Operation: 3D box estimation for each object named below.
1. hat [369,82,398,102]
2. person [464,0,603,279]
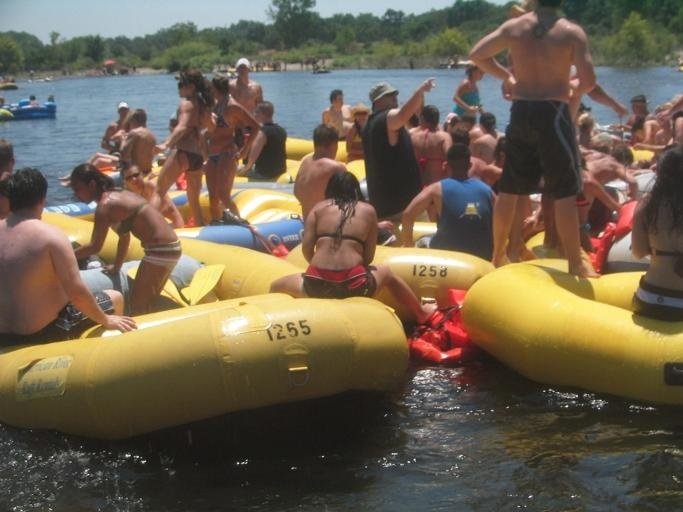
[{"bbox_3d":[0.405,-1.640,7.643,0.239,0.124,0.235,-31,1,0],"label":"hat"},{"bbox_3d":[1.445,-0.836,5.595,0.869,1.973,0.393,7,16,44],"label":"person"}]
